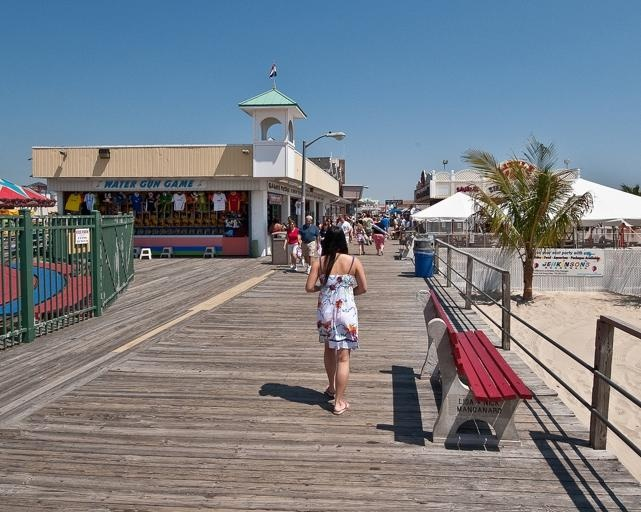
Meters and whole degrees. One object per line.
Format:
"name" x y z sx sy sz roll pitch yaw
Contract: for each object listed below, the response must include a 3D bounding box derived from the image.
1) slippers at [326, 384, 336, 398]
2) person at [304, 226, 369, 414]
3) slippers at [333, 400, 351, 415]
"slippers" 0.126 1.596 6.932 0.176 0.141 0.439 -1 -5 -1
"person" 0.177 0.684 6.744 0.637 2.022 0.713 6 12 31
"slippers" 0.234 1.689 6.603 0.091 0.069 0.179 3 15 21
